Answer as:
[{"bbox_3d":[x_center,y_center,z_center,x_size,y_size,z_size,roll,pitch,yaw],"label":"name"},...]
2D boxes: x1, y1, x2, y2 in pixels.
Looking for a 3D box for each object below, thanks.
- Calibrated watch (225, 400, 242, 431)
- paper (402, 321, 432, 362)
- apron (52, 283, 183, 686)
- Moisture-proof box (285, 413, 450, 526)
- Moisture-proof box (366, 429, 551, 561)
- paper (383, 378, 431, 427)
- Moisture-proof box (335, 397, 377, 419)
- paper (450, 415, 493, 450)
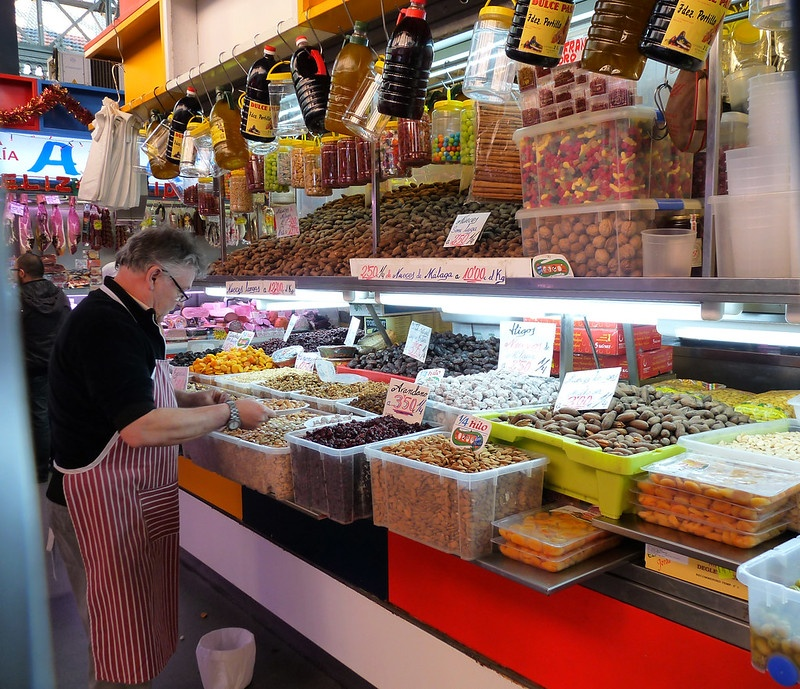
[{"bbox_3d":[-0.636,0.277,2.312,0.072,0.105,0.109,-1,-36,-9],"label":"Calibrated watch"},{"bbox_3d":[0.081,-0.001,2.890,0.178,0.208,0.008,25,15,40],"label":"paper"},{"bbox_3d":[-0.992,0.494,2.252,0.565,1.368,0.560,-5,13,-35],"label":"apron"},{"bbox_3d":[-0.115,0.423,2.220,0.522,0.232,0.340,-5,7,-42],"label":"Moisture-proof box"},{"bbox_3d":[0.194,0.451,1.954,0.382,0.235,0.518,10,6,40],"label":"Moisture-proof box"},{"bbox_3d":[0.028,0.228,2.254,0.178,0.157,0.020,15,9,34],"label":"paper"},{"bbox_3d":[-0.190,0.273,2.507,0.088,0.036,0.120,-6,12,-33],"label":"Moisture-proof box"},{"bbox_3d":[0.222,0.276,1.846,0.114,0.102,0.005,9,-23,31],"label":"paper"}]
